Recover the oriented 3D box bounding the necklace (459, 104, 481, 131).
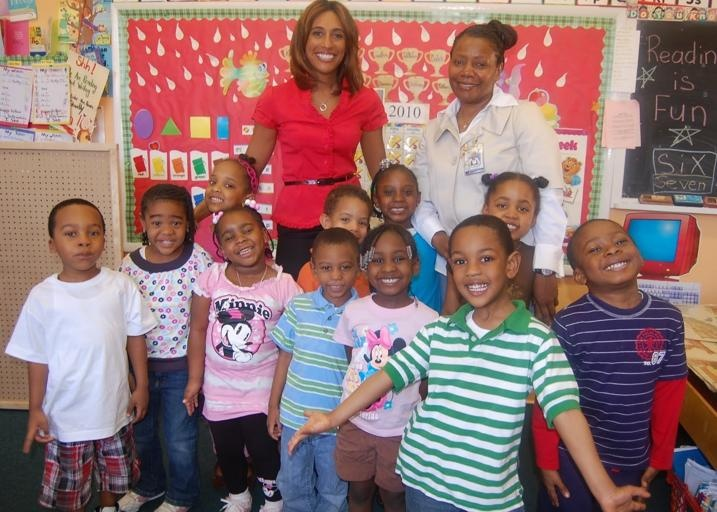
[{"bbox_3d":[0.537,-0.650,2.922,0.090,0.115,0.087,13,-2,15],"label":"necklace"}]

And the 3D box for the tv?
[{"bbox_3d":[1.796,-0.073,3.601,0.430,0.426,0.249,-1,-3,23],"label":"tv"}]

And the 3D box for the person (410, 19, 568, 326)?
[{"bbox_3d":[0.486,-0.149,2.967,0.582,1.753,0.618,-12,23,-43],"label":"person"}]
